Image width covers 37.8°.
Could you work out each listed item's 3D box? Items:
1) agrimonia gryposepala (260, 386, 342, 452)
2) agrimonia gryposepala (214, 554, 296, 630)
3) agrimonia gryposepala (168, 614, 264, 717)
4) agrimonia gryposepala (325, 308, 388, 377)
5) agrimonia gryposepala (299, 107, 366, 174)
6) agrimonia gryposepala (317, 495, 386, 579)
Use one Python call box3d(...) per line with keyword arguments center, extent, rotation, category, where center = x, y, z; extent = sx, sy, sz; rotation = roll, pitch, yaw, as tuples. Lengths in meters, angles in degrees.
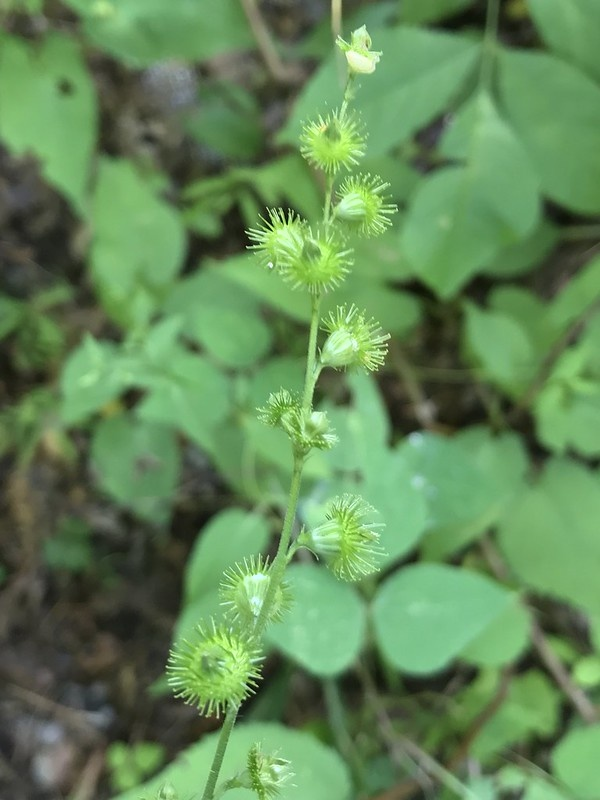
box3d(center=(-0.003, 0.003, 0.441), extent=(0.038, 0.025, 0.014), rotation=(-23, 88, -42), category="agrimonia gryposepala")
box3d(center=(-0.023, 0.093, 0.450), extent=(0.041, 0.037, 0.015), rotation=(-21, 93, -12), category="agrimonia gryposepala")
box3d(center=(-0.042, 0.135, 0.437), extent=(0.039, 0.052, 0.048), rotation=(28, 82, 8), category="agrimonia gryposepala")
box3d(center=(0.027, -0.033, 0.460), extent=(0.031, 0.046, 0.040), rotation=(4, 79, 3), category="agrimonia gryposepala")
box3d(center=(0.016, -0.134, 0.437), extent=(0.019, 0.017, 0.019), rotation=(16, 52, -9), category="agrimonia gryposepala")
box3d(center=(0.024, 0.062, 0.439), extent=(0.023, 0.023, 0.023), rotation=(21, 93, 20), category="agrimonia gryposepala")
